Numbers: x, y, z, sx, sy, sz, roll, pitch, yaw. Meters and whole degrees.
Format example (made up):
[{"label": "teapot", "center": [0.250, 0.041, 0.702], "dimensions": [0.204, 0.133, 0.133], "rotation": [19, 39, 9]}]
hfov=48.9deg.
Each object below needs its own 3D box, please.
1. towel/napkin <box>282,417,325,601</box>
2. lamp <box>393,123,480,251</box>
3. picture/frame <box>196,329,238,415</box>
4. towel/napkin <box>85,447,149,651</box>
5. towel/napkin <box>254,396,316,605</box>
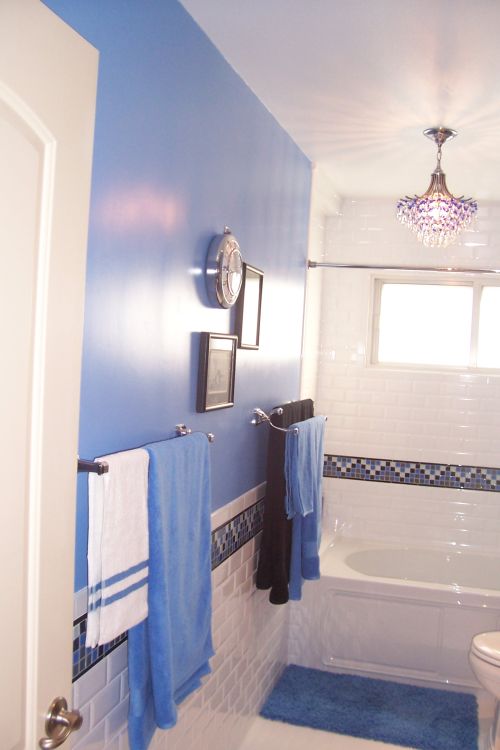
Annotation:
[{"label": "towel/napkin", "center": [0.281, 0.614, 2.755], "dimensions": [0.089, 0.761, 0.665], "rotation": [-1, 3, 15]}, {"label": "lamp", "center": [0.876, -0.868, 2.572], "dimensions": [0.382, 0.546, 0.391], "rotation": [3, 0, -36]}, {"label": "picture/frame", "center": [-0.122, -0.012, 1.904], "dimensions": [0.024, 0.279, 0.272], "rotation": [2, 1, 15]}, {"label": "towel/napkin", "center": [-0.291, 0.372, 1.206], "dimensions": [0.051, 0.392, 0.255], "rotation": [1, 1, 15]}, {"label": "towel/napkin", "center": [0.136, 0.594, 2.629], "dimensions": [0.135, 0.917, 0.454], "rotation": [1, 1, 18]}]
